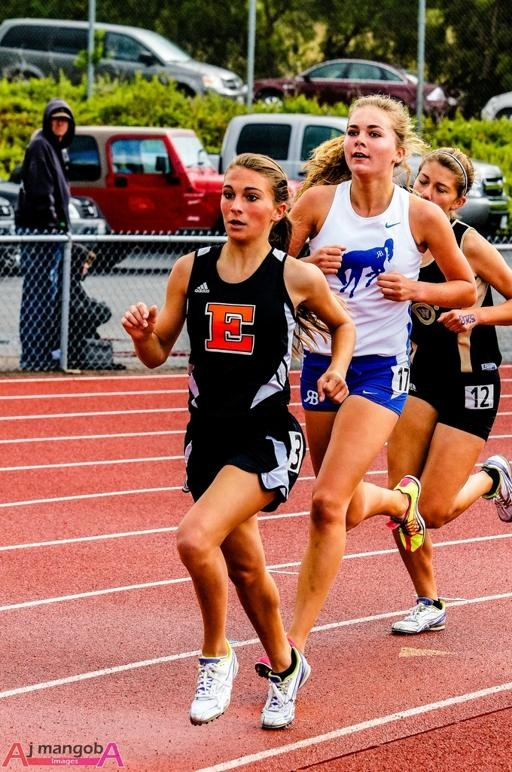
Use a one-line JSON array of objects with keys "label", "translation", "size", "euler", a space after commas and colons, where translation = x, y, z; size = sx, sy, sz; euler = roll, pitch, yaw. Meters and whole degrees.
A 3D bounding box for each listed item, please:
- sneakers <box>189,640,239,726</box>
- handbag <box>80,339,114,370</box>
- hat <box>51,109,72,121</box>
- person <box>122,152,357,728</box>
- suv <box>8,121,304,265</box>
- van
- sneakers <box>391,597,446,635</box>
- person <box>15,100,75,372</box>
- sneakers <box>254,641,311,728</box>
[{"label": "sneakers", "translation": [-0.101, 0.760, 2.031], "size": [0.089, 0.106, 0.240], "euler": [-10, 43, 26]}, {"label": "handbag", "translation": [-1.893, -0.345, 9.044], "size": [0.313, 0.363, 0.550], "euler": [-2, 1, 21]}, {"label": "hat", "translation": [-2.074, -2.891, 8.271], "size": [0.069, 0.097, 0.238], "euler": [2, -1, 40]}, {"label": "person", "translation": [-0.057, 0.173, 2.077], "size": [0.686, 1.273, 0.390], "euler": [3, -1, -36]}, {"label": "suv", "translation": [-1.726, -3.746, 16.310], "size": [5.760, 2.801, 3.393], "euler": [-1, 17, 1]}, {"label": "van", "translation": [-3.709, -9.241, 21.282], "size": [6.703, 2.412, 2.768], "euler": [1, 14, 9]}, {"label": "sneakers", "translation": [0.700, 0.965, 3.290], "size": [0.296, 0.142, 0.103], "euler": [-2, 2, -30]}, {"label": "person", "translation": [-2.347, -1.624, 8.455], "size": [0.588, 2.826, 0.729], "euler": [3, -1, -17]}, {"label": "sneakers", "translation": [0.069, 0.824, 2.209], "size": [0.101, 0.266, 0.124], "euler": [4, -21, 35]}]
